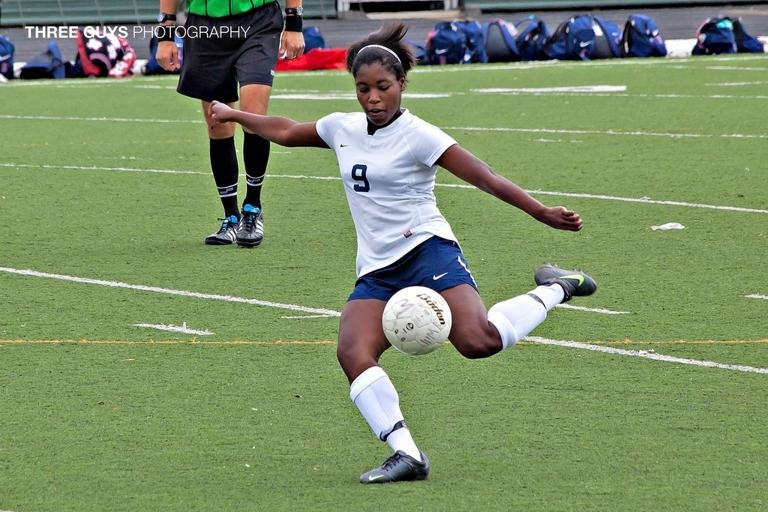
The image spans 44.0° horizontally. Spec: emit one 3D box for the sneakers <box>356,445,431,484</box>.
[{"bbox_3d":[0.060,0.982,4.344,0.385,0.123,0.123,0,-2,-3],"label":"sneakers"}]

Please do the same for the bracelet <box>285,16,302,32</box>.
[{"bbox_3d":[-0.742,-1.926,7.769,0.153,0.094,0.133,5,13,17],"label":"bracelet"}]

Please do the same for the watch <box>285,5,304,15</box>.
[{"bbox_3d":[-0.735,-2.026,7.774,0.128,0.059,0.106,4,8,29],"label":"watch"}]

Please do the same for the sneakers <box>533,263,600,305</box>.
[{"bbox_3d":[1.040,0.159,5.469,0.484,0.199,0.148,14,-25,3],"label":"sneakers"}]

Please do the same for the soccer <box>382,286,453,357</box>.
[{"bbox_3d":[0.123,0.342,4.706,0.414,0.296,0.355,3,-21,-3],"label":"soccer"}]
